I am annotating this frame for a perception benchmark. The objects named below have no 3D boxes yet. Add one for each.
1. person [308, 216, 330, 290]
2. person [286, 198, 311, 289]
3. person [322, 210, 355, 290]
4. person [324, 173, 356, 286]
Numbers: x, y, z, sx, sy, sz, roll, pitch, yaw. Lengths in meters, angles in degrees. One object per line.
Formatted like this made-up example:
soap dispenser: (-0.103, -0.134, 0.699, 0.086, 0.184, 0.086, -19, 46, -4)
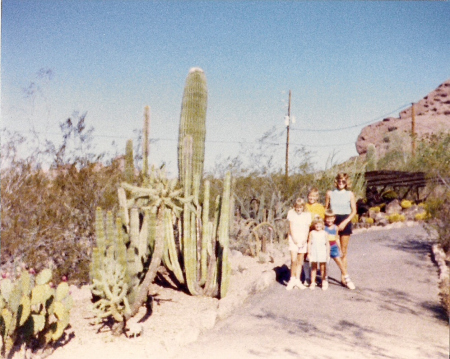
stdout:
person: (1.590, 1.238, 8.379, 0.361, 1.232, 0.438, 1, 6, 12)
person: (1.260, 1.105, 8.362, 0.389, 1.584, 0.305, 0, 6, -3)
person: (1.925, 1.121, 8.500, 0.367, 1.695, 0.349, -14, 0, 34)
person: (1.938, 0.849, 8.407, 0.543, 1.944, 0.543, 0, -5, 33)
